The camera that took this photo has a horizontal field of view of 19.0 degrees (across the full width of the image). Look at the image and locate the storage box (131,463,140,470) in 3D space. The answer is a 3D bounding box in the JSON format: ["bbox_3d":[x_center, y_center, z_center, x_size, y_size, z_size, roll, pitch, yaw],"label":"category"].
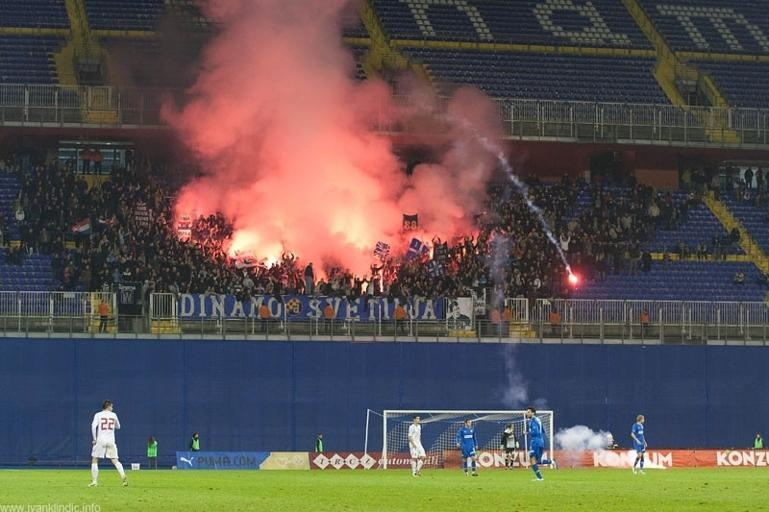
[{"bbox_3d":[-14.375,12.168,132.557,0.390,0.329,0.343,1,-8,-9],"label":"storage box"}]

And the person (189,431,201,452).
[{"bbox_3d":[-11.144,10.841,134.584,0.576,1.191,1.657,-1,-10,-4],"label":"person"}]
